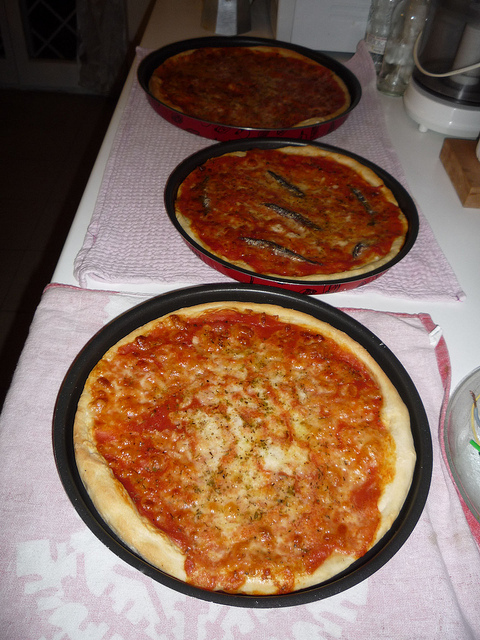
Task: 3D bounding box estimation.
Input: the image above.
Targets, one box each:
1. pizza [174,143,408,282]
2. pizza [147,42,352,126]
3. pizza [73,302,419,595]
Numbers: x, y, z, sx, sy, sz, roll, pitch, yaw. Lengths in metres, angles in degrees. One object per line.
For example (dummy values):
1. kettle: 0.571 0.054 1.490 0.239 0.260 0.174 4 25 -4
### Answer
1. pizza: 0.110 -0.232 1.357 0.483 0.067 0.437 33 46 21
2. pizza: 0.042 -0.796 1.812 0.558 0.075 0.524 7 32 4
3. pizza: 0.008 0.179 0.890 0.538 0.096 0.527 -10 47 -16
